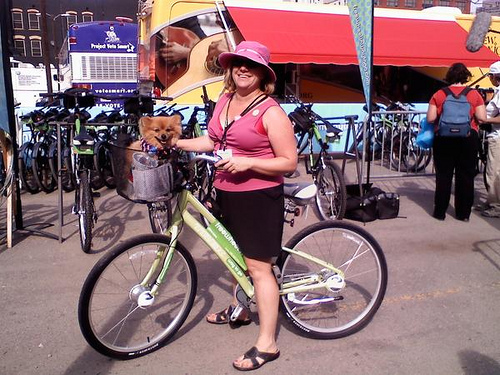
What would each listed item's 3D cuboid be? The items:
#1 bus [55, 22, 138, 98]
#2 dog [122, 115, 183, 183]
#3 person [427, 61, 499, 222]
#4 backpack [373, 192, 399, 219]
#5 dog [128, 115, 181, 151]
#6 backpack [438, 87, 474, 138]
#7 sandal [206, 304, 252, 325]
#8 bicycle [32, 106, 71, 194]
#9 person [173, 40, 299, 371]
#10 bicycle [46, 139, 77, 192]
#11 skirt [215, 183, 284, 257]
[{"bbox_3d":[-4.769,-4.083,12.764,1.762,1.912,4.690,-6,19,-22],"label":"bus"},{"bbox_3d":[-0.805,-0.303,3.399,0.492,0.599,0.973,-7,16,-25],"label":"dog"},{"bbox_3d":[3.257,-0.675,6.298,0.862,2.470,0.909,10,17,36],"label":"person"},{"bbox_3d":[2.193,0.296,6.517,0.373,0.421,0.181,-1,13,-3],"label":"backpack"},{"bbox_3d":[-0.791,-0.483,3.418,0.382,0.238,0.461,-7,13,-22],"label":"dog"},{"bbox_3d":[3.028,-1.071,5.916,0.358,0.800,0.358,11,18,27],"label":"backpack"},{"bbox_3d":[-0.177,1.232,3.808,0.447,0.207,0.188,3,3,7],"label":"sandal"},{"bbox_3d":[-4.079,-0.755,8.414,1.011,1.464,2.217,-1,1,-24],"label":"bicycle"},{"bbox_3d":[0.017,0.166,3.259,0.681,2.577,0.620,-2,14,-7],"label":"person"},{"bbox_3d":[-3.254,-0.397,6.895,0.257,0.982,0.983,-4,-5,-14],"label":"bicycle"},{"bbox_3d":[0.011,0.261,3.170,0.484,0.556,0.142,1,14,6],"label":"skirt"}]
